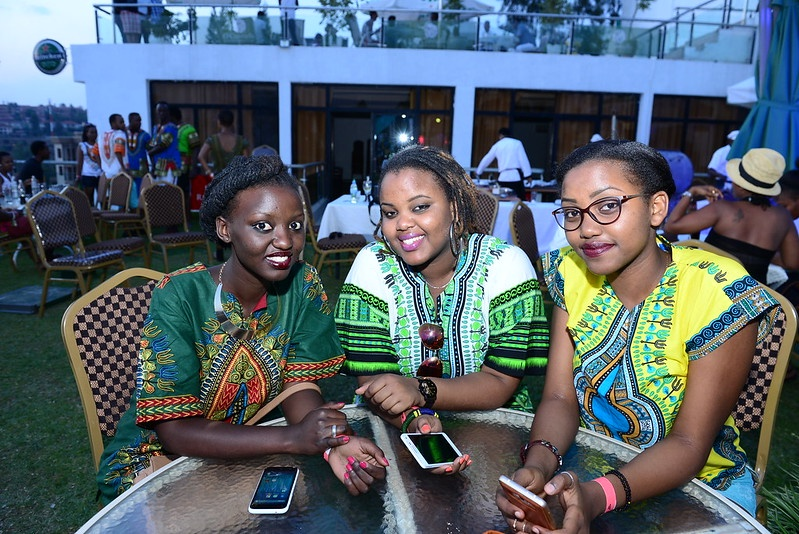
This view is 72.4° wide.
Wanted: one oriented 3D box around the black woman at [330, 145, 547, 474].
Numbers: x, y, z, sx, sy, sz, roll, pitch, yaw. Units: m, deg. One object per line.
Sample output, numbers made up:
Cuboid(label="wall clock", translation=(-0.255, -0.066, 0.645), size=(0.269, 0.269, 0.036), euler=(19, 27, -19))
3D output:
Cuboid(label="black woman", translation=(0.148, 0.209, 2.531), size=(0.970, 1.415, 0.936), euler=(-2, 18, 16))

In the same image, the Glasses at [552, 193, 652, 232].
Cuboid(label="Glasses", translation=(0.767, -0.215, 2.185), size=(0.340, 0.147, 0.181), euler=(5, 15, 28))

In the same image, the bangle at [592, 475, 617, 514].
Cuboid(label="bangle", translation=(0.715, 0.797, 1.917), size=(0.089, 0.035, 0.098), euler=(26, 37, -21))

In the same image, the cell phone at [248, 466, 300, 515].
Cuboid(label="cell phone", translation=(-0.445, 0.792, 1.939), size=(0.139, 0.069, 0.184), euler=(-2, 13, 3))

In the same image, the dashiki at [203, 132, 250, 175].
Cuboid(label="dashiki", translation=(-2.945, -1.890, 9.255), size=(0.766, 0.731, 0.407), euler=(1, 22, -23))

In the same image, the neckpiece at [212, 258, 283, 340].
Cuboid(label="neckpiece", translation=(-0.643, 0.138, 2.281), size=(0.260, 0.345, 0.080), euler=(0, -1, -4))

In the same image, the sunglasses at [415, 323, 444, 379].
Cuboid(label="sunglasses", translation=(0.134, 0.378, 2.448), size=(0.121, 0.234, 0.110), euler=(-1, 15, 7))

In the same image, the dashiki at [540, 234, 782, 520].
Cuboid(label="dashiki", translation=(1.002, 0.448, 2.157), size=(0.554, 0.988, 0.999), euler=(-23, 21, -34))

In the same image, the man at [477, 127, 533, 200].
Cuboid(label="man", translation=(1.697, -1.432, 9.084), size=(0.881, 1.727, 0.374), euler=(-2, 10, 20))

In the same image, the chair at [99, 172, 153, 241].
Cuboid(label="chair", translation=(-4.274, -0.839, 8.235), size=(0.569, 0.978, 0.605), euler=(19, 37, 39))

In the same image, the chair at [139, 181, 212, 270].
Cuboid(label="chair", translation=(-2.754, -0.430, 6.713), size=(0.770, 1.168, 0.620), euler=(17, 21, 36))

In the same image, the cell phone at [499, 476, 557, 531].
Cuboid(label="cell phone", translation=(0.423, 0.803, 1.837), size=(0.122, 0.221, 0.031), euler=(27, 65, 41))

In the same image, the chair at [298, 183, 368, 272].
Cuboid(label="chair", translation=(-0.828, -0.454, 6.548), size=(0.728, 1.097, 0.612), euler=(2, 4, -1))

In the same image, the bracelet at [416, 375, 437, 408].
Cuboid(label="bracelet", translation=(0.120, 0.536, 2.356), size=(0.081, 0.105, 0.109), euler=(-12, 47, -16))
